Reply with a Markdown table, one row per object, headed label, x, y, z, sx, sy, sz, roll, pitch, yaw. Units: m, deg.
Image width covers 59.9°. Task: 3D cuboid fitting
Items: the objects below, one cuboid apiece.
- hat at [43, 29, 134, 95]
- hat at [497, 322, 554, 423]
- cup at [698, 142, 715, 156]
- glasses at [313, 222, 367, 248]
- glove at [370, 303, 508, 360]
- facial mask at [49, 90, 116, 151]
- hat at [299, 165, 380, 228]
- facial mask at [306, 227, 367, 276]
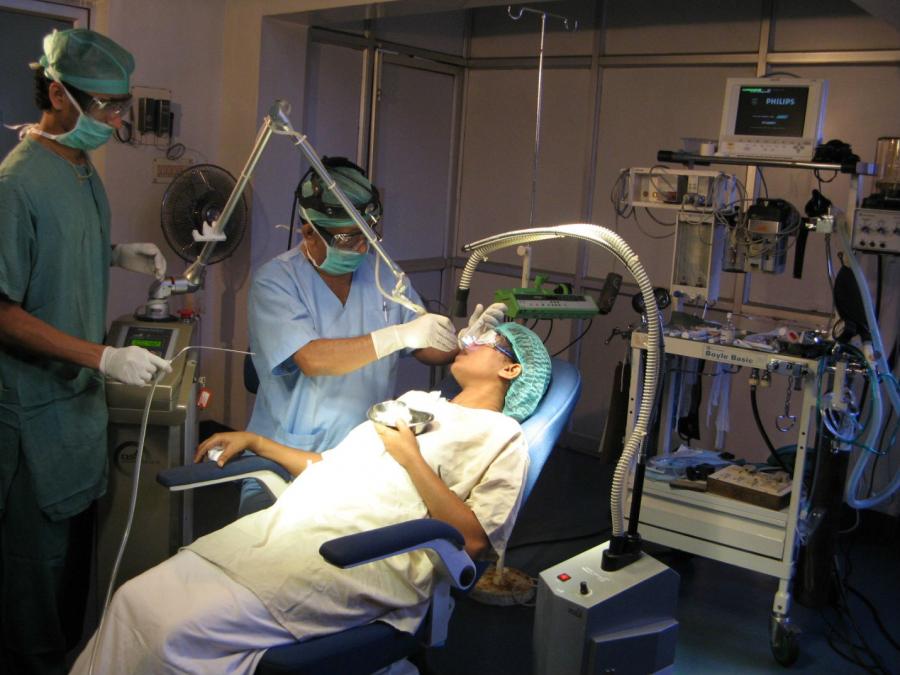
| label | x | y | z | sx | sy | sz | roll | pitch | yaw |
| --- | --- | --- | --- | --- | --- | --- | --- | --- | --- |
| hat | -1.214 | -0.947 | 2.623 | 0.265 | 0.148 | 0.221 | 35 | 43 | 6 |
| hat | 0.280 | 0.122 | 2.893 | 0.107 | 0.324 | 0.228 | 18 | -35 | -15 |
| cup | 1.199 | -0.881 | 3.685 | 0.066 | 0.086 | 0.082 | 3 | 4 | 8 |
| glasses | -0.397 | -0.369 | 2.817 | 0.103 | 0.036 | 0.107 | 10 | 8 | -39 |
| glove | -0.053 | -0.018 | 2.849 | 0.359 | 0.241 | 0.242 | -7 | 0 | 5 |
| facial mask | -1.239 | -0.695 | 2.665 | 0.186 | 0.107 | 0.176 | 29 | 30 | -25 |
| hat | -0.394 | -0.465 | 2.764 | 0.244 | 0.237 | 0.244 | 0 | 3 | -9 |
| facial mask | -0.427 | -0.328 | 2.899 | 0.175 | 0.154 | 0.165 | 12 | 5 | 9 |
